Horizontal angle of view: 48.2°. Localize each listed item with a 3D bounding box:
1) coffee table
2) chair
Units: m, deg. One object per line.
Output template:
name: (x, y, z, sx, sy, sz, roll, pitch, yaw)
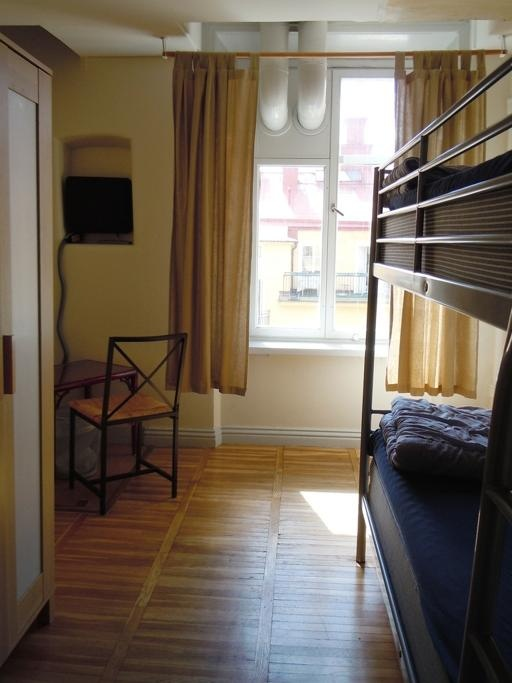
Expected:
coffee table: (-0.737, 0.408, 3.087, 0.353, 0.510, 0.510, -5, 2, 33)
chair: (-0.602, 0.326, 2.716, 0.451, 0.912, 0.432, 14, 14, 38)
